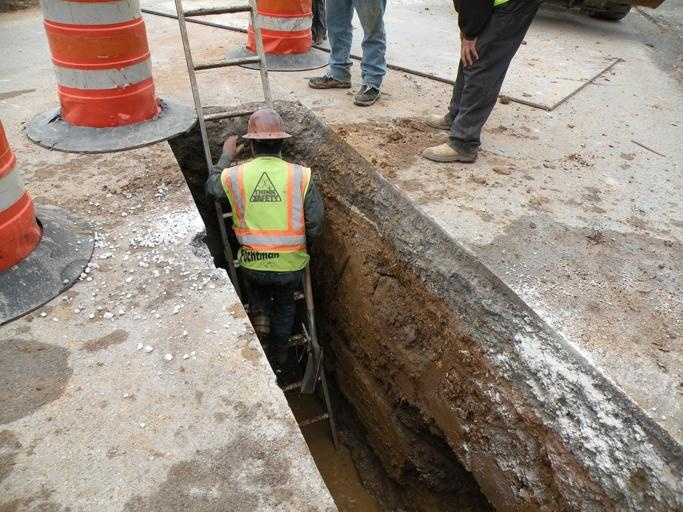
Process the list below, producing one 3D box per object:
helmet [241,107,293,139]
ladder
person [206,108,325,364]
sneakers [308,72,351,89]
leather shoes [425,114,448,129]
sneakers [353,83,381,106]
[{"bbox_3d":[-0.538,-0.949,3.398,0.272,0.147,0.300,-1,40,-3],"label":"helmet"},{"bbox_3d":[-0.857,-0.778,4.104,0.989,4.983,0.224,-12,-1,-27],"label":"ladder"},{"bbox_3d":[-0.532,-0.045,3.748,0.776,1.997,0.894,-15,44,-17],"label":"person"},{"bbox_3d":[-0.140,-1.788,4.912,0.469,0.183,0.153,-1,52,-5],"label":"sneakers"},{"bbox_3d":[0.862,-1.216,4.259,0.240,0.090,0.086,3,66,2],"label":"leather shoes"},{"bbox_3d":[0.237,-1.554,4.566,0.154,0.163,0.235,19,43,20],"label":"sneakers"}]
